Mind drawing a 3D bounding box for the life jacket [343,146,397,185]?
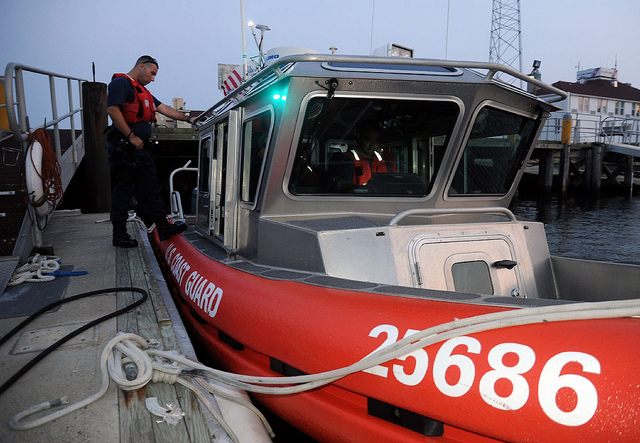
[{"bbox_3d":[0.414,-0.459,3.367,0.326,0.326,0.112,-10,23,-19],"label":"life jacket"}]

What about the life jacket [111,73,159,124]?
[{"bbox_3d":[-2.135,-1.379,4.803,0.287,0.544,0.553,-4,5,10],"label":"life jacket"}]

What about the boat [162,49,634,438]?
[{"bbox_3d":[0.261,-0.094,3.688,2.241,1.665,4.055,0,3,-22],"label":"boat"}]

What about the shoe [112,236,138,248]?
[{"bbox_3d":[-2.509,0.237,5.360,0.328,0.168,0.122,0,3,4],"label":"shoe"}]
